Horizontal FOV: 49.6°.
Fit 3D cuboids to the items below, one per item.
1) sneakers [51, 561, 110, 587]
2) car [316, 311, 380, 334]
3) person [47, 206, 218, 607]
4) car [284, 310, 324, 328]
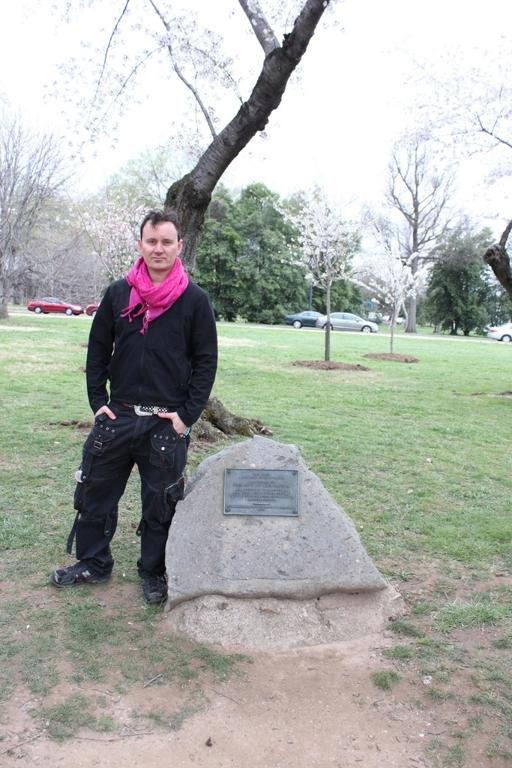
[{"bbox_3d":[-0.925,1.017,2.916,0.277,0.122,0.107,10,0,-19],"label":"sneakers"},{"bbox_3d":[6.362,-4.141,37.180,2.661,1.126,1.450,6,10,14],"label":"car"},{"bbox_3d":[-0.593,0.147,2.740,0.726,1.957,0.261,4,10,2],"label":"person"},{"bbox_3d":[3.323,-4.414,37.901,2.781,0.971,1.159,-4,12,1],"label":"car"}]
